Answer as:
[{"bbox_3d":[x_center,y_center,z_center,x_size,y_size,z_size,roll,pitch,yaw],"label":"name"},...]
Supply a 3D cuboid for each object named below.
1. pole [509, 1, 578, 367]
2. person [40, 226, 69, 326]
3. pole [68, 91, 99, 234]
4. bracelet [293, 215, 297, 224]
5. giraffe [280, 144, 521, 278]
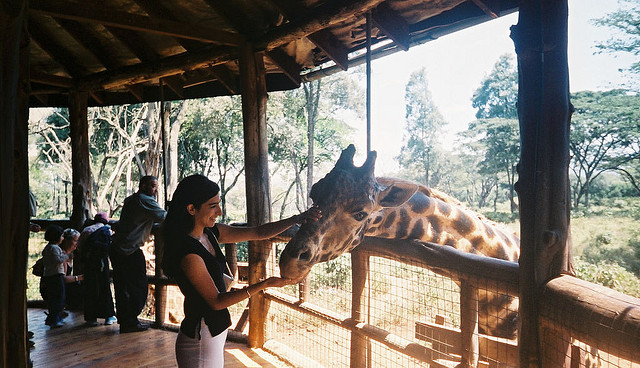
[{"bbox_3d":[2.963,-0.013,6.659,0.739,4.200,0.252,1,0,22],"label":"pole"},{"bbox_3d":[-5.406,1.878,10.035,0.466,2.186,0.368,2,0,-28],"label":"person"},{"bbox_3d":[-5.524,-0.538,11.457,0.524,3.540,0.688,2,0,-36],"label":"pole"},{"bbox_3d":[-0.371,0.519,7.331,0.078,0.115,0.021,1,0,44],"label":"bracelet"},{"bbox_3d":[1.188,0.647,8.863,4.495,2.389,1.698,10,-4,-24],"label":"giraffe"}]
